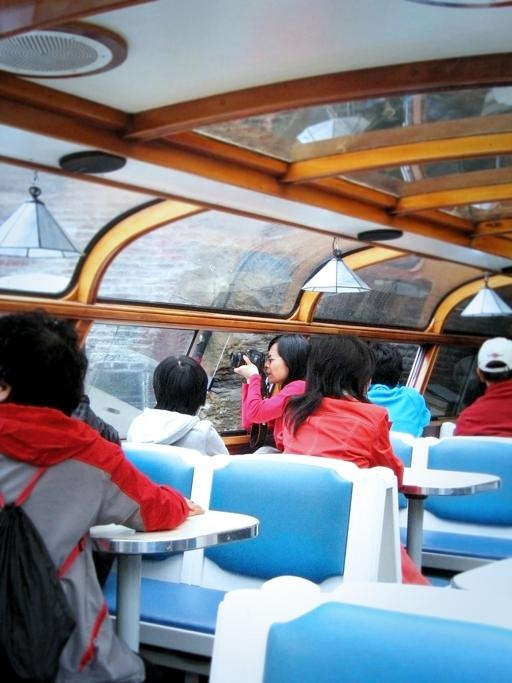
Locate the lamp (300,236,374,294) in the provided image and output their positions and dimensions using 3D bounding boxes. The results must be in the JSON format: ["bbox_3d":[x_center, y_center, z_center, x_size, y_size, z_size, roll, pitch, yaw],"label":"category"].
[{"bbox_3d":[0.783,-0.684,4.915,0.576,0.485,0.522,0,-16,-1],"label":"lamp"}]

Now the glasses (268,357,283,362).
[{"bbox_3d":[0.143,0.146,3.824,0.046,0.039,0.156,2,0,-26],"label":"glasses"}]

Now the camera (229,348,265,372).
[{"bbox_3d":[-0.074,0.153,4.463,0.256,0.140,0.217,7,11,7],"label":"camera"}]
